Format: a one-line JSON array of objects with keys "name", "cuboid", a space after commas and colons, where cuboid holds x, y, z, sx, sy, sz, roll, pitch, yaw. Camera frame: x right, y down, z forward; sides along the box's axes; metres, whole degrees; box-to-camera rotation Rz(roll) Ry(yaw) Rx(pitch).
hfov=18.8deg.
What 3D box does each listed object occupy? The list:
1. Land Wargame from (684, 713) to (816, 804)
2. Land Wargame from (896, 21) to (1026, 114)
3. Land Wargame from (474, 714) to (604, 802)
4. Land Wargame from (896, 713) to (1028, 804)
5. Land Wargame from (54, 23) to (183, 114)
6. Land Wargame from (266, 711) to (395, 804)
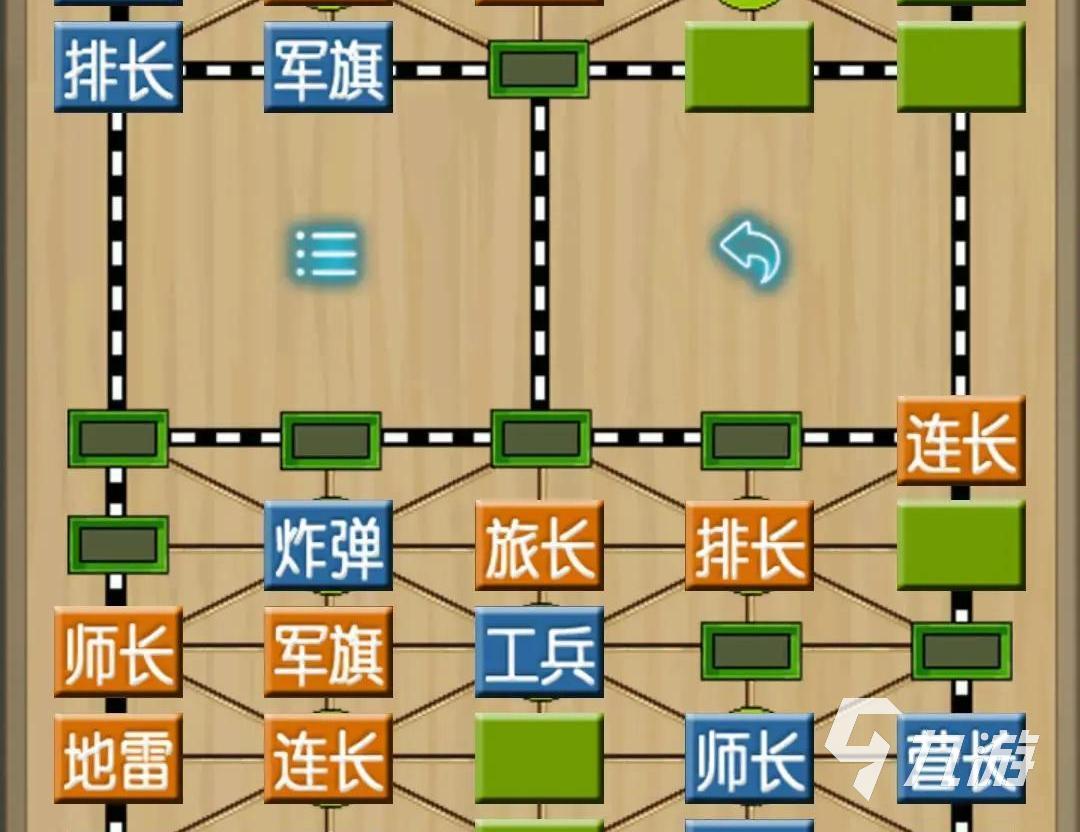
[{"name": "Land Wargame", "cuboid": [1.028, 1.682, 16.036, 0.615, 0.226, 0.374, -1, -63, -5]}, {"name": "Land Wargame", "cuboid": [2.068, -1.749, 16.201, 0.553, 0.147, 0.485, -2, -89, 1]}, {"name": "Land Wargame", "cuboid": [-0.016, 1.686, 16.178, 0.530, 0.142, 0.466, -2, -89, 3]}, {"name": "Land Wargame", "cuboid": [2.080, 1.690, 16.041, 0.641, 0.227, 0.380, -2, -63, -5]}, {"name": "Land Wargame", "cuboid": [-2.050, -1.821, 16.166, 0.641, 0.943, 0.221, -6, -106, -19]}, {"name": "Land Wargame", "cuboid": [-1.047, 1.690, 16.039, 0.619, 0.226, 0.371, -2, -63, -5]}]
